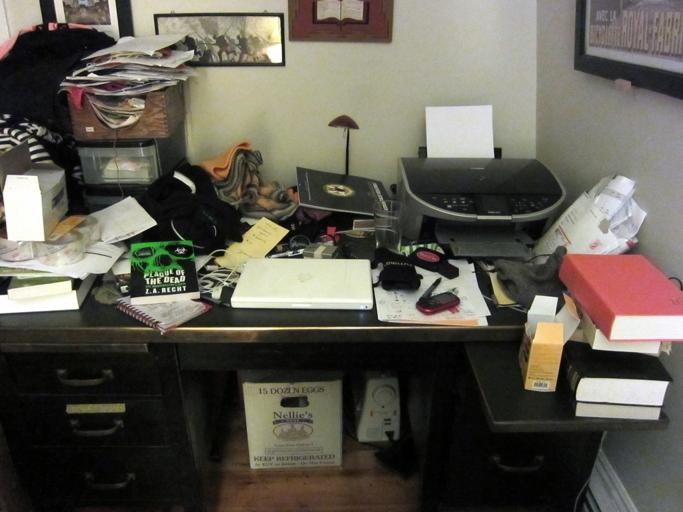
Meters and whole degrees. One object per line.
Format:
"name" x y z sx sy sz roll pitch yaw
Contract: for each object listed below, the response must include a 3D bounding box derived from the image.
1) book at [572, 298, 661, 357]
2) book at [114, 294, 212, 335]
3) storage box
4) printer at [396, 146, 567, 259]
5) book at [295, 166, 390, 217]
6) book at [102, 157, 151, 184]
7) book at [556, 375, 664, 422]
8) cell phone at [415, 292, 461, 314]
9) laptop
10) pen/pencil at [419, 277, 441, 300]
"book" 0.664 0.158 1.304 0.164 0.036 0.157 1 16 -5
"book" -0.499 0.149 1.484 0.148 0.033 0.126 19 35 25
"storage box" -0.685 -0.431 2.003 0.399 0.370 0.391 1 28 0
"printer" 0.467 -0.179 1.826 0.535 0.238 0.415 1 24 6
"book" 0.005 -0.239 2.000 0.258 0.058 0.243 5 37 -13
"book" -0.721 -0.287 1.828 0.110 0.034 0.105 0 25 -6
"book" 0.663 0.338 1.279 0.146 0.048 0.141 1 16 8
"cell phone" 0.268 0.129 1.508 0.106 0.020 0.053 -9 27 -9
"laptop" -0.109 0.080 1.557 0.267 0.025 0.180 0 28 1
"pen/pencil" 0.258 0.098 1.571 0.099 0.014 0.010 -38 4 -31
